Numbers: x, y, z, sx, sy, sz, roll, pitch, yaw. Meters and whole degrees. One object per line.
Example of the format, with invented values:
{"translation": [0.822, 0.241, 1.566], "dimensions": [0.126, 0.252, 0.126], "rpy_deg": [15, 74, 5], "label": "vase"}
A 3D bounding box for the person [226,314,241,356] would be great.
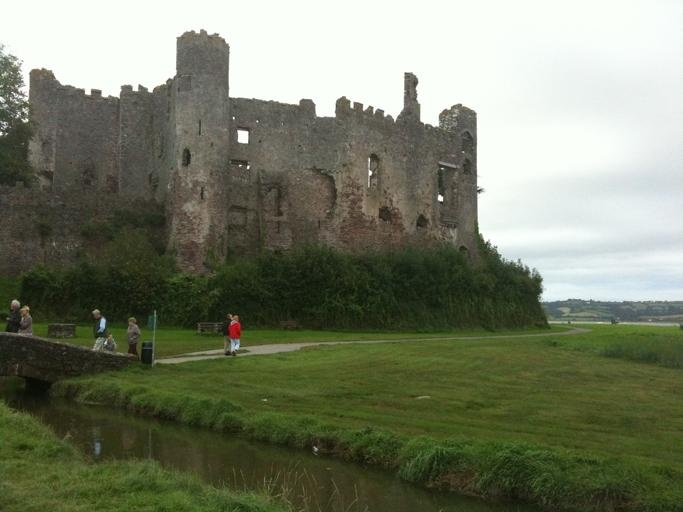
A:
{"translation": [-4.399, 3.313, 30.929], "dimensions": [0.536, 1.571, 2.079], "rpy_deg": [0, 9, -9], "label": "person"}

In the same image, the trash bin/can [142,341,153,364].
{"translation": [-7.035, 3.537, 27.716], "dimensions": [0.409, 0.742, 0.493], "rpy_deg": [-1, 9, -15], "label": "trash bin/can"}

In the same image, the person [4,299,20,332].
{"translation": [-11.864, 2.075, 27.740], "dimensions": [0.469, 1.280, 2.130], "rpy_deg": [-3, 10, -23], "label": "person"}

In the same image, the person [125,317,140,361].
{"translation": [-7.728, 2.972, 28.454], "dimensions": [0.365, 1.450, 1.441], "rpy_deg": [-1, 9, -13], "label": "person"}
